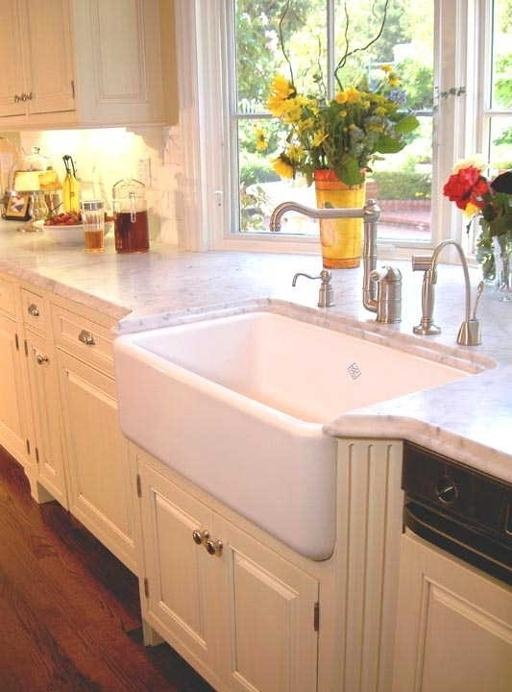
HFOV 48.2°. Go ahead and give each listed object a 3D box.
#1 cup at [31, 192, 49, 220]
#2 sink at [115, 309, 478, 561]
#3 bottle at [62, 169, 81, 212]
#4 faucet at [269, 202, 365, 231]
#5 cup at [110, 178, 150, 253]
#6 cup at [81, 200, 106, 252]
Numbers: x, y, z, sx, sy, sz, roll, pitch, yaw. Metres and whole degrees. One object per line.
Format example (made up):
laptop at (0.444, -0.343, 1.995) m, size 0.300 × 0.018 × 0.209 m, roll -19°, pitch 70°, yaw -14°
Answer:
cup at (-1.214, -0.786, 3.203) m, size 0.095 × 0.152 × 0.290 m, roll -6°, pitch 15°, yaw -20°
sink at (0.056, -0.026, 1.091) m, size 0.408 × 0.289 × 0.693 m, roll -20°, pitch 28°, yaw -33°
bottle at (-0.980, -0.818, 3.037) m, size 0.089 × 0.196 × 0.250 m, roll -5°, pitch 15°, yaw -18°
faucet at (0.122, -0.280, 1.217) m, size 0.096 × 0.054 × 0.291 m, roll 12°, pitch 18°, yaw 41°
cup at (-0.555, -0.592, 2.546) m, size 0.155 × 0.316 × 0.465 m, roll -4°, pitch 14°, yaw -12°
cup at (-0.687, -0.509, 2.417) m, size 0.083 × 0.203 × 0.180 m, roll -5°, pitch 15°, yaw -16°
